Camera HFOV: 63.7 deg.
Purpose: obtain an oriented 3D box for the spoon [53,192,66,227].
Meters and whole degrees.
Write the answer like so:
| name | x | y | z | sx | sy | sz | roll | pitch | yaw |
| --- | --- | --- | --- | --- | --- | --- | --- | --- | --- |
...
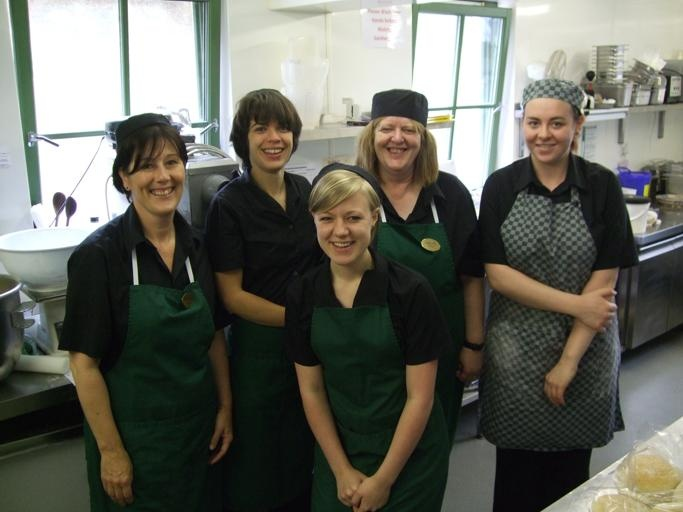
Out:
| name | x | y | z | sx | sy | sz | roll | pitch | yaw |
| --- | --- | --- | --- | --- | --- | --- | --- | --- | --- |
| spoon | -1.390 | -0.249 | 2.694 | 0.057 | 0.200 | 0.027 | 8 | 13 | 6 |

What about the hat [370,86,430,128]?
| name | x | y | z | sx | sy | sz | roll | pitch | yaw |
| --- | --- | --- | --- | --- | --- | --- | --- | --- | --- |
| hat | 0.211 | -0.598 | 2.139 | 0.202 | 0.111 | 0.181 | -11 | 19 | -33 |

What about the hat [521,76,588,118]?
| name | x | y | z | sx | sy | sz | roll | pitch | yaw |
| --- | --- | --- | --- | --- | --- | --- | --- | --- | --- |
| hat | 0.809 | -0.626 | 2.104 | 0.219 | 0.127 | 0.252 | -2 | 28 | -26 |

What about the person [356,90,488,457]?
| name | x | y | z | sx | sy | sz | roll | pitch | yaw |
| --- | --- | --- | --- | --- | --- | --- | --- | --- | --- |
| person | 0.273 | 0.221 | 2.296 | 0.663 | 1.730 | 0.530 | 2 | 27 | 11 |

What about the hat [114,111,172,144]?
| name | x | y | z | sx | sy | sz | roll | pitch | yaw |
| --- | --- | --- | --- | --- | --- | --- | --- | --- | --- |
| hat | -0.652 | -0.424 | 1.800 | 0.171 | 0.091 | 0.111 | -6 | 14 | -14 |

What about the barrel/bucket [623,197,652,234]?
| name | x | y | z | sx | sy | sz | roll | pitch | yaw |
| --- | --- | --- | --- | --- | --- | --- | --- | --- | --- |
| barrel/bucket | 1.991 | -0.284 | 3.691 | 0.170 | 0.198 | 0.203 | -8 | -3 | 29 |
